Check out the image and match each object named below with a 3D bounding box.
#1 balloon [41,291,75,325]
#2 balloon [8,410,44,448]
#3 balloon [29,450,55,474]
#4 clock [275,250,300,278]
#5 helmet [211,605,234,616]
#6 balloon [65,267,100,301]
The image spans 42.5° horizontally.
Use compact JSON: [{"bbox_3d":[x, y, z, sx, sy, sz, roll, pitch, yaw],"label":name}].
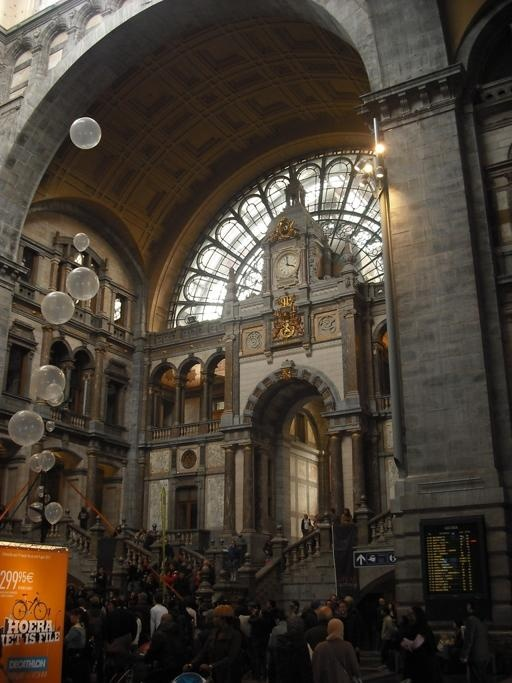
[{"bbox_3d":[-3.619,-0.660,12.022,0.506,0.696,0.745,4,-20,-15],"label":"balloon"},{"bbox_3d":[-3.888,1.421,11.091,0.457,0.572,0.596,-1,-20,-1],"label":"balloon"},{"bbox_3d":[-5.098,2.842,15.703,0.476,0.509,0.973,3,-20,-12],"label":"balloon"},{"bbox_3d":[1.260,-2.985,25.750,1.169,1.088,0.101,-9,-26,36],"label":"clock"},{"bbox_3d":[-0.266,2.245,5.502,0.148,0.120,0.106,-2,-7,-7],"label":"helmet"},{"bbox_3d":[-3.016,-1.058,11.440,0.498,0.669,0.661,4,-20,-15],"label":"balloon"}]
